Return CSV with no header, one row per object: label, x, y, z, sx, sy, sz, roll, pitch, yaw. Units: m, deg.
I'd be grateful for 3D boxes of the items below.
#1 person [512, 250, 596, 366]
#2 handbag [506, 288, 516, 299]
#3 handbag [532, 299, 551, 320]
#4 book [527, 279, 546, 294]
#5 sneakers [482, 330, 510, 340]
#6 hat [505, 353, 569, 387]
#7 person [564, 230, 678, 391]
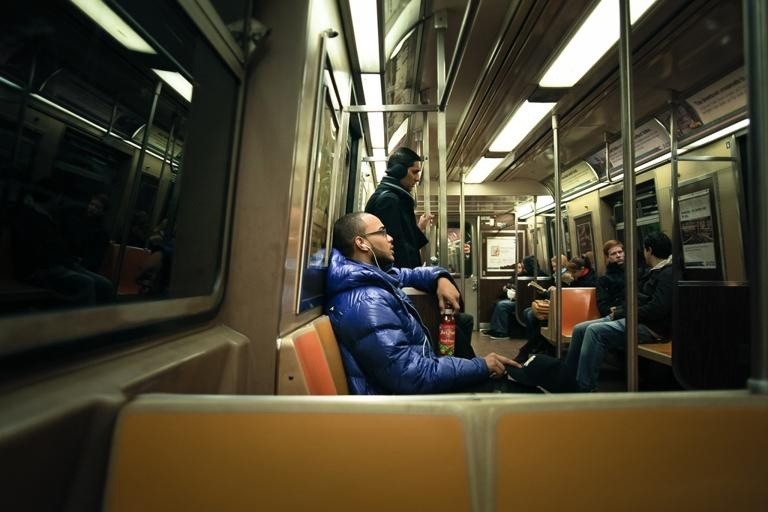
person,2.095,0.721,6.336,0.872,1.113,0.788,12,1,10
handbag,1.997,0.591,7.857,0.102,0.125,0.138,-2,-40,8
handbag,1.792,0.608,5.720,0.196,0.105,0.264,1,3,27
book,2.013,0.393,6.595,0.219,0.079,0.217,37,6,35
sneakers,1.784,1.244,7.936,0.346,0.143,0.128,8,-3,4
hat,0.793,0.564,2.508,0.213,0.164,0.350,-1,-4,-42
person,2.012,0.515,4.389,0.890,1.546,0.620,12,-14,4
